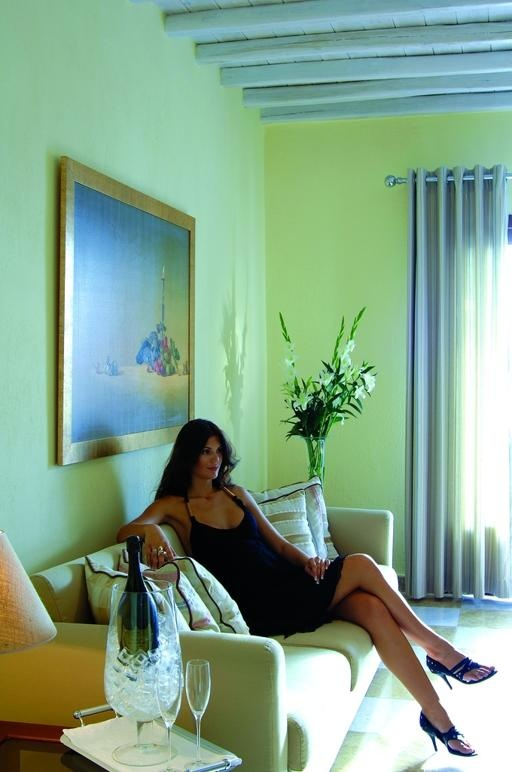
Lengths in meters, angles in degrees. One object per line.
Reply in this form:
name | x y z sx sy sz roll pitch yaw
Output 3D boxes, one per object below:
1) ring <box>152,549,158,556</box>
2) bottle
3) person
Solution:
ring | -0.313 0.511 1.953 0.014 0.020 0.010 2 8 30
bottle | -0.180 0.335 0.963 0.062 0.158 0.054 1 5 -7
person | 0.202 0.668 2.281 1.291 1.005 0.486 11 22 17
